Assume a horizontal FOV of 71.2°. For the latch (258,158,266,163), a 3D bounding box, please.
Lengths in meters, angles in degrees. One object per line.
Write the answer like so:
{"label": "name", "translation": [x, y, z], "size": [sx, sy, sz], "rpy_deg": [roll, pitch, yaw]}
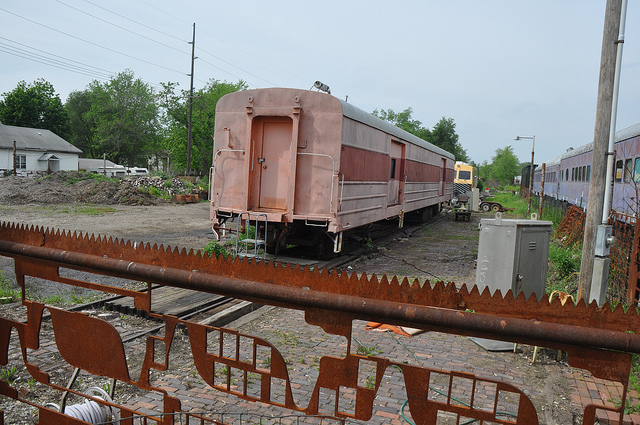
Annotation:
{"label": "latch", "translation": [-1.481, -1.310, 11.353], "size": [0.175, 0.095, 0.055], "rpy_deg": [6, -3, 26]}

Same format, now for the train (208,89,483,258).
{"label": "train", "translation": [2.508, -1.527, 19.727], "size": [3.961, 4.166, 19.373], "rpy_deg": [3, 6, 21]}

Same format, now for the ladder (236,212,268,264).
{"label": "ladder", "translation": [-1.667, 0.680, 11.639], "size": [0.555, 1.473, 0.805], "rpy_deg": [15, 29, 6]}
